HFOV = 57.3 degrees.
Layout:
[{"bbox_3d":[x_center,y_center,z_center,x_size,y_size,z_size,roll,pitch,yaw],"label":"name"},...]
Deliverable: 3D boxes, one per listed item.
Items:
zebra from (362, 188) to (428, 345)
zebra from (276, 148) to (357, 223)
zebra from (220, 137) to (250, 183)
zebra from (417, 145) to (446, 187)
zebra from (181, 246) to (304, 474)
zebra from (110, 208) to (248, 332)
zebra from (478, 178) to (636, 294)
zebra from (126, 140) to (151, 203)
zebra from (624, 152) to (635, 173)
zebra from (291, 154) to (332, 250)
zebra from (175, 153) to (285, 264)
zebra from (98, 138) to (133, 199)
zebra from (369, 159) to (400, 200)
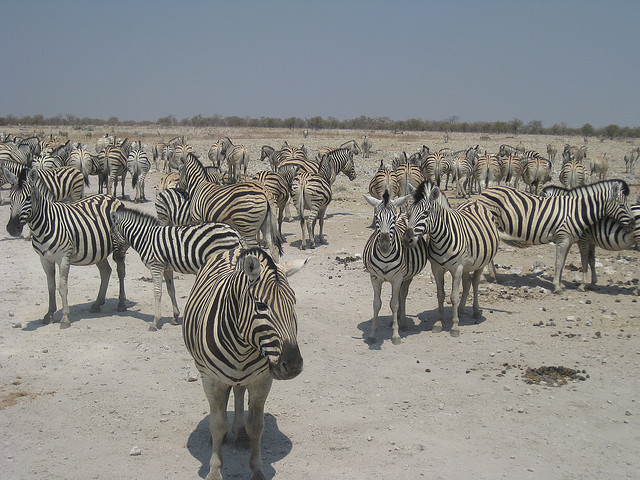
[{"bbox_3d":[1.153,0.424,9.319,0.681,2.473,1.086,8,11,43],"label":"zebra"},{"bbox_3d":[-0.135,-1.583,17.819,2.935,2.414,0.918,-6,37,7],"label":"zebra"},{"bbox_3d":[-3.607,-3.319,24.667,0.686,1.762,2.382,-6,14,-31],"label":"zebra"},{"bbox_3d":[4.216,-2.651,21.751,0.747,1.978,2.574,1,5,2],"label":"zebra"},{"bbox_3d":[-0.879,1.385,6.449,0.982,2.653,1.809,-3,9,-26],"label":"zebra"},{"bbox_3d":[-2.317,0.504,9.739,2.629,2.068,0.739,0,5,13],"label":"zebra"},{"bbox_3d":[4.661,-0.299,11.478,2.548,1.726,0.785,2,8,3],"label":"zebra"},{"bbox_3d":[-6.421,-2.413,21.040,0.772,2.064,2.870,-4,10,-12],"label":"zebra"},{"bbox_3d":[15.704,-3.913,29.641,0.404,0.989,1.321,5,9,27],"label":"zebra"},{"bbox_3d":[-0.081,-1.015,15.274,0.964,2.501,3.082,0,8,12],"label":"zebra"},{"bbox_3d":[-2.054,-0.567,12.289,3.089,2.275,1.030,13,8,32],"label":"zebra"},{"bbox_3d":[-7.052,-2.562,20.546,0.696,2.095,2.588,8,14,-2],"label":"zebra"},{"bbox_3d":[1.911,-1.486,17.053,0.799,1.466,2.307,-4,9,2],"label":"zebra"}]
